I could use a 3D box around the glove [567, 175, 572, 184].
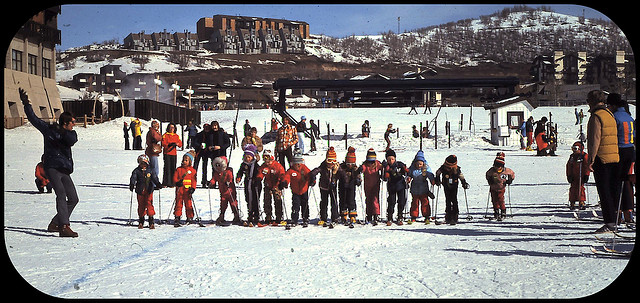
[{"bbox_3d":[15.149,1.629,40.207,0.253,0.459,0.202,-1,-2,19],"label":"glove"}]

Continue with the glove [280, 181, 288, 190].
[{"bbox_3d":[-2.122,1.973,39.084,0.460,0.486,0.303,-1,-2,13],"label":"glove"}]

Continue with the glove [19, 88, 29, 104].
[{"bbox_3d":[-16.814,-3.208,37.623,0.489,0.910,0.492,1,-3,-27],"label":"glove"}]

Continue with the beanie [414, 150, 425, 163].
[{"bbox_3d":[5.997,0.251,40.011,0.594,0.787,1.061,-1,-2,8],"label":"beanie"}]

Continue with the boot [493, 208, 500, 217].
[{"bbox_3d":[10.604,3.623,39.572,0.401,0.451,0.221,2,-3,-42],"label":"boot"}]

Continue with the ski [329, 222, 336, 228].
[{"bbox_3d":[0.779,4.353,39.233,0.195,0.254,0.494,-2,-3,41],"label":"ski"}]

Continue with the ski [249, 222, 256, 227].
[{"bbox_3d":[-4.031,4.334,39.406,0.305,0.253,0.127,-3,-5,4],"label":"ski"}]

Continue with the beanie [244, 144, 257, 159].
[{"bbox_3d":[-4.204,-0.075,39.974,0.695,0.393,0.829,2,-16,1],"label":"beanie"}]

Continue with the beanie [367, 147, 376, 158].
[{"bbox_3d":[3.080,0.044,39.614,0.482,0.578,0.464,-1,-2,4],"label":"beanie"}]

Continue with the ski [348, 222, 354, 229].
[{"bbox_3d":[1.838,4.366,39.198,0.277,0.295,0.108,-4,-17,2],"label":"ski"}]

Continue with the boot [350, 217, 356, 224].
[{"bbox_3d":[1.948,4.047,39.301,0.352,0.372,0.183,0,-2,-19],"label":"boot"}]

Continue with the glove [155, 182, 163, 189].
[{"bbox_3d":[-9.544,1.954,39.122,0.396,0.370,0.685,0,-2,-18],"label":"glove"}]

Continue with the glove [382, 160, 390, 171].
[{"bbox_3d":[3.916,0.791,39.378,0.404,0.489,0.213,0,-2,2],"label":"glove"}]

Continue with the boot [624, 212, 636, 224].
[{"bbox_3d":[17.905,3.780,38.180,0.430,0.655,0.840,-2,-3,42],"label":"boot"}]

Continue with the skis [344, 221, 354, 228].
[{"bbox_3d":[1.740,4.339,39.287,0.290,0.335,0.101,-13,-6,-23],"label":"skis"}]

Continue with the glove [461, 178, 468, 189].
[{"bbox_3d":[8.560,1.872,39.296,0.359,0.565,0.483,-1,-2,13],"label":"glove"}]

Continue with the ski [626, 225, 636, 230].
[{"bbox_3d":[17.740,4.318,37.888,0.421,0.248,0.111,-1,-2,18],"label":"ski"}]

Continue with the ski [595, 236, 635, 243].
[{"bbox_3d":[16.638,4.988,37.109,1.815,0.216,0.293,0,-2,-1],"label":"ski"}]

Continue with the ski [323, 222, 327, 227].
[{"bbox_3d":[0.279,4.321,39.348,0.250,0.277,0.129,1,-3,4],"label":"ski"}]

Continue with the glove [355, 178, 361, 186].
[{"bbox_3d":[2.260,1.774,39.213,0.213,0.450,0.366,-2,-3,35],"label":"glove"}]

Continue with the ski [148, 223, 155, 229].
[{"bbox_3d":[-9.929,4.364,39.106,0.272,0.295,0.158,1,-3,-24],"label":"ski"}]

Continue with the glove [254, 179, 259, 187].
[{"bbox_3d":[-3.806,1.818,39.320,0.379,0.406,0.153,4,-5,-5],"label":"glove"}]

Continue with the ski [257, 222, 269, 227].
[{"bbox_3d":[-3.415,4.321,39.422,0.589,0.218,0.203,0,-2,-19],"label":"ski"}]

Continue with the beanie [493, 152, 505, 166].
[{"bbox_3d":[10.783,0.445,39.880,0.531,0.836,0.974,-1,-2,18],"label":"beanie"}]

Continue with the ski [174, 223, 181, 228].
[{"bbox_3d":[-8.434,4.358,39.241,0.360,0.254,0.174,0,-2,-15],"label":"ski"}]

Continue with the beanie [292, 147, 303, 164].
[{"bbox_3d":[-1.341,0.229,39.433,0.594,0.879,0.642,0,-2,-3],"label":"beanie"}]

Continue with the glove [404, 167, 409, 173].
[{"bbox_3d":[5.167,1.053,39.403,0.226,0.338,0.320,-1,-2,19],"label":"glove"}]
